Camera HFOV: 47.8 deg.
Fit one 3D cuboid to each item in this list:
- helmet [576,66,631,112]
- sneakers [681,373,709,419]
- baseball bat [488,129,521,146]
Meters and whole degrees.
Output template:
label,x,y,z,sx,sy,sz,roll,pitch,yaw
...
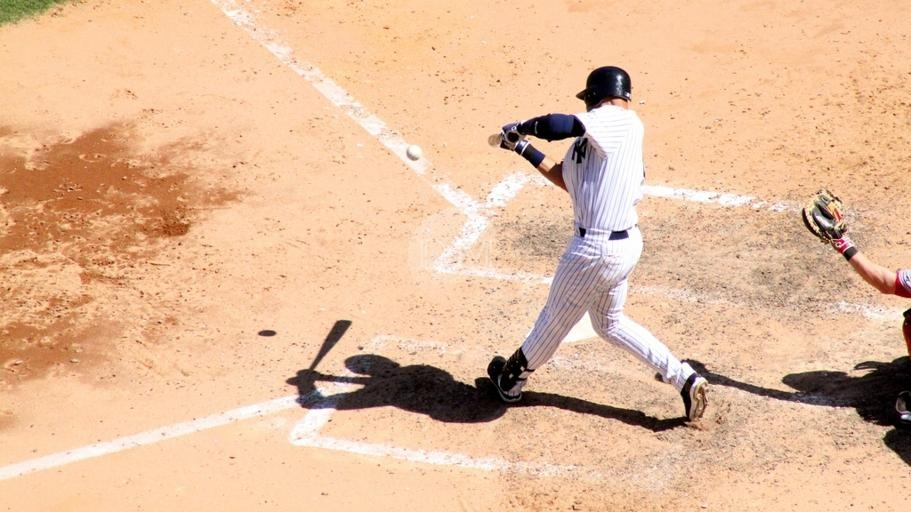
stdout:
label,x,y,z,sx,sy,sz,roll,pitch,yaw
helmet,1.589,-1.798,11.015,0.631,0.464,0.385,16,108,38
sneakers,2.662,1.569,11.345,0.304,0.557,0.219,9,42,25
baseball bat,0.519,-1.302,11.284,0.293,0.171,0.114,-3,100,32
